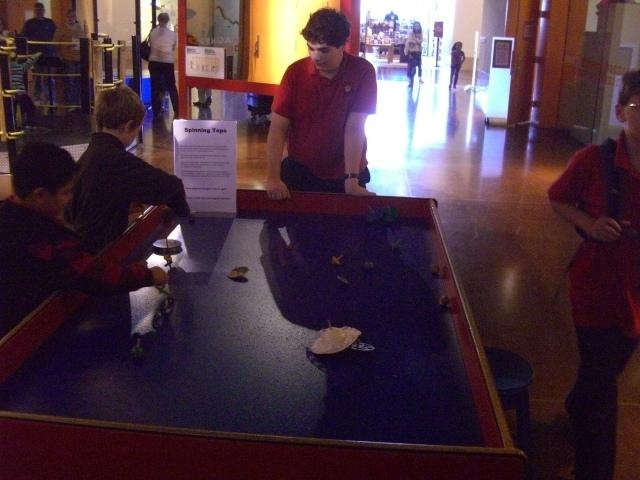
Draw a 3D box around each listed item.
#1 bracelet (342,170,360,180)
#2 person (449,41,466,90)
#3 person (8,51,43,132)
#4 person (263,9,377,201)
[{"bbox_3d":[0.183,-0.366,2.867,0.075,0.043,0.113,3,16,-2],"label":"bracelet"},{"bbox_3d":[4.336,-5.583,15.808,0.379,1.461,2.286,6,16,12],"label":"person"},{"bbox_3d":[-3.023,-1.541,5.152,0.231,0.774,2.022,-5,18,-28],"label":"person"},{"bbox_3d":[0.024,-0.672,2.837,0.647,0.839,0.715,1,15,-6],"label":"person"}]
